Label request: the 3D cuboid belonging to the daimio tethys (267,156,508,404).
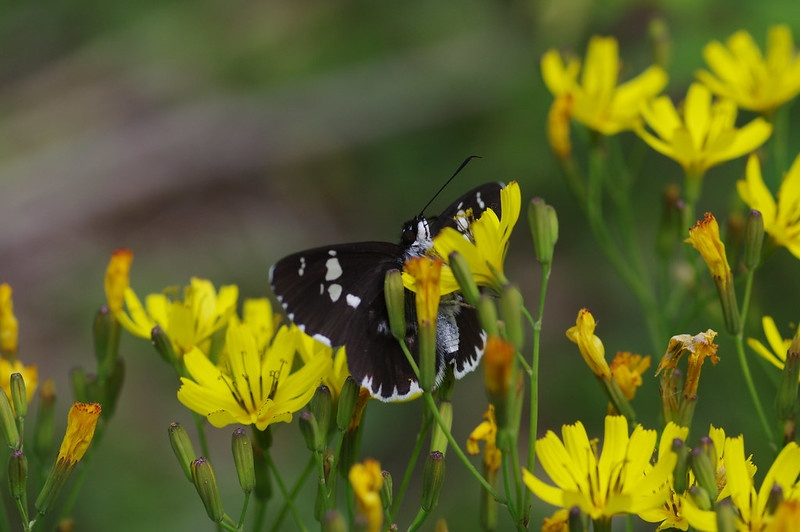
[{"bbox_3d":[-0.025,0.055,1.478,0.281,0.516,0.296,-3,2,8],"label":"daimio tethys"}]
